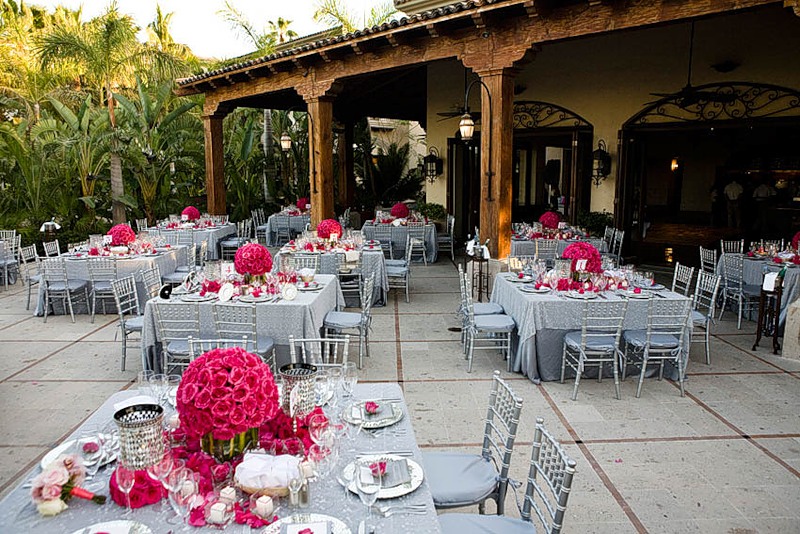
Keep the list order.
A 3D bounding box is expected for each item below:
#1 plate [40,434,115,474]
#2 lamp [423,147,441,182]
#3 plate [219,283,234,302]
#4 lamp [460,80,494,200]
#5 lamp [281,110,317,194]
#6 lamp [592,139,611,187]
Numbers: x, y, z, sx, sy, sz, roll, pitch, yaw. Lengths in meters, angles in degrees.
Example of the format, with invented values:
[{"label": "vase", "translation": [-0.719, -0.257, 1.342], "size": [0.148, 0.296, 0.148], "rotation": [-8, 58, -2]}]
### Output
[{"label": "plate", "translation": [-2.255, 1.303, 3.734], "size": [0.318, 0.080, 0.324], "rotation": [-8, 30, -26]}, {"label": "lamp", "translation": [1.030, -3.091, 15.712], "size": [0.506, 1.090, 0.454], "rotation": [1, 8, 9]}, {"label": "plate", "translation": [-2.206, 0.305, 6.686], "size": [0.257, 0.209, 0.214], "rotation": [-8, 11, -42]}, {"label": "lamp", "translation": [1.388, -2.208, 9.507], "size": [0.622, 2.262, 0.298], "rotation": [2, 35, 10]}, {"label": "lamp", "translation": [-3.940, -3.961, 18.097], "size": [1.283, 2.759, 1.099], "rotation": [-1, 6, -16]}, {"label": "lamp", "translation": [4.966, -2.550, 12.779], "size": [0.434, 1.114, 0.233], "rotation": [2, 9, 20]}]
